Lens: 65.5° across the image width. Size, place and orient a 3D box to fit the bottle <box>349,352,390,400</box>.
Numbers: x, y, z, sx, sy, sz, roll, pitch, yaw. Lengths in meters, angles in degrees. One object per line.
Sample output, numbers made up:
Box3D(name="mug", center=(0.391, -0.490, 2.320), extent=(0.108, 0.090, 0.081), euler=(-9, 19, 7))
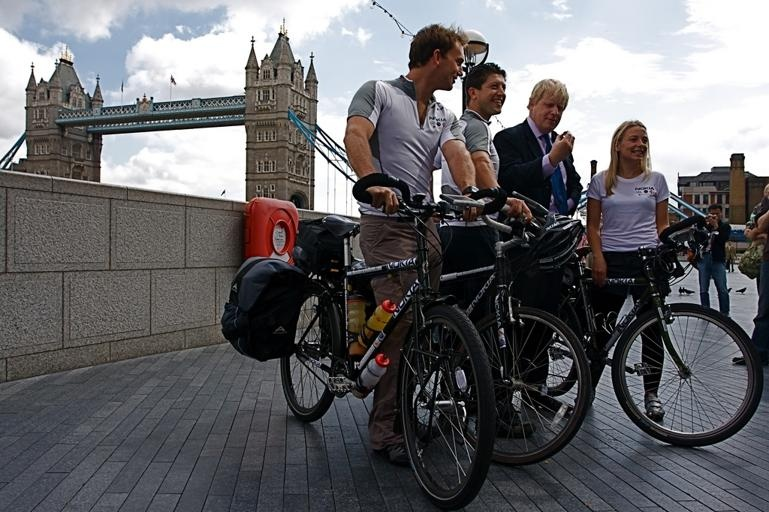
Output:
Box3D(name="bottle", center=(-0.113, 0.804, 4.124), extent=(0.120, 0.373, 0.136), euler=(30, 28, -15))

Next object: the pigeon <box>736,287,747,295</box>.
Box3D(name="pigeon", center=(11.437, 1.097, 19.051), extent=(0.350, 0.232, 0.129), euler=(4, 1, -11))

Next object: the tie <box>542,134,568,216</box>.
Box3D(name="tie", center=(1.488, -0.729, 5.072), extent=(0.145, 0.200, 0.821), euler=(-12, -42, 21))

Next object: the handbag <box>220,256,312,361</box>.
Box3D(name="handbag", center=(-1.063, 0.398, 4.963), extent=(0.605, 0.869, 0.806), euler=(-2, 14, -40))

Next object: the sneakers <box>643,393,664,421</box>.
Box3D(name="sneakers", center=(2.133, 1.175, 4.741), extent=(0.092, 0.109, 0.263), euler=(-20, 6, 7))
